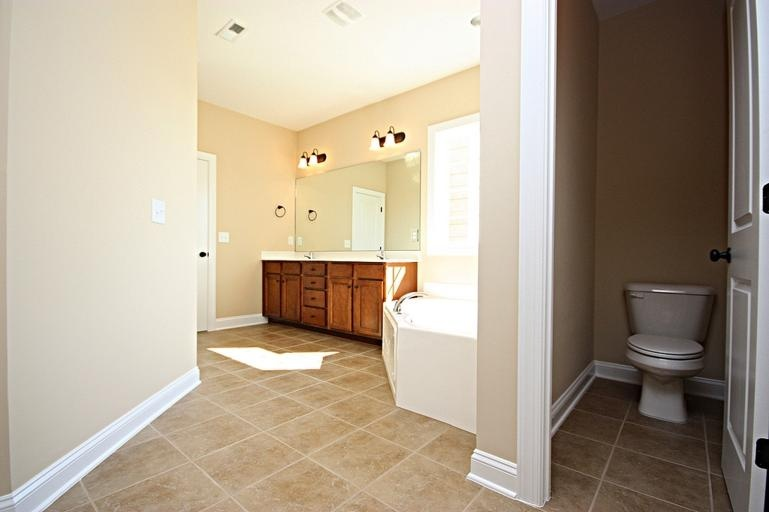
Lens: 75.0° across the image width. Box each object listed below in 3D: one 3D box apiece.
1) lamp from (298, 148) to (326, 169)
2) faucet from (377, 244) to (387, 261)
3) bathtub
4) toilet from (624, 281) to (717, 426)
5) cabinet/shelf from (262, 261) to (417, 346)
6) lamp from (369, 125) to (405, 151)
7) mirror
[{"bbox_3d":[-0.935,-1.276,6.557,0.311,0.162,0.094,-1,1,38],"label":"lamp"},{"bbox_3d":[-0.034,-0.037,5.747,0.043,0.158,0.111,4,-6,-8],"label":"faucet"},{"bbox_3d":[0.333,0.802,3.684,0.653,0.443,1.267,1,0,2],"label":"bathtub"},{"bbox_3d":[2.113,0.689,3.790,0.623,0.922,0.671,4,6,35],"label":"toilet"},{"bbox_3d":[-0.625,0.387,5.743,1.924,0.793,0.439,4,6,37],"label":"cabinet/shelf"},{"bbox_3d":[0.020,-1.342,5.645,0.458,0.260,0.169,5,7,43],"label":"lamp"},{"bbox_3d":[-0.355,-0.490,6.041,1.541,0.929,0.074,1,-7,7],"label":"mirror"}]
